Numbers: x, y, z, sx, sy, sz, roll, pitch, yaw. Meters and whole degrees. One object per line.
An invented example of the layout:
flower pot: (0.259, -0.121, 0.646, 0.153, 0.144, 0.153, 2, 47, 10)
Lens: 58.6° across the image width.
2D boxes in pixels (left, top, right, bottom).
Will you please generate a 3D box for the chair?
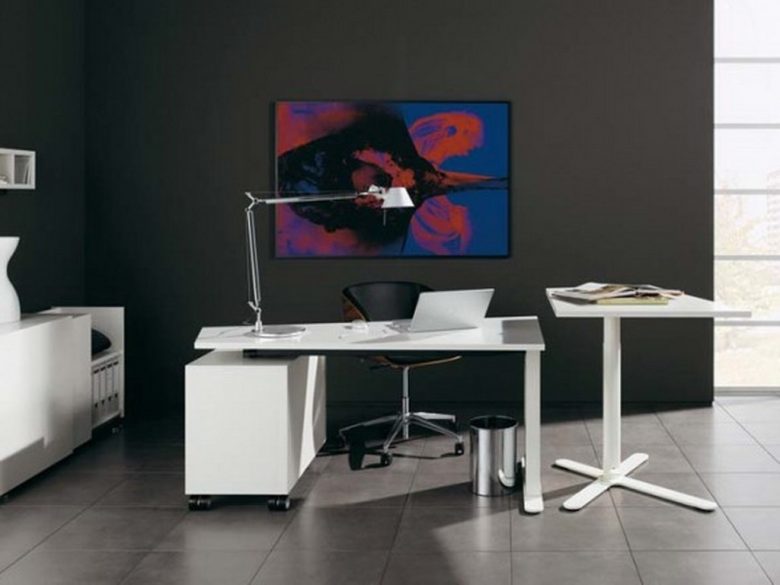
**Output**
chair: (0.071, 0.483, 4.909, 0.883, 1.197, 0.827, -2, 2, -29)

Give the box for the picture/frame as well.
picture/frame: (-0.007, -0.894, 5.564, 1.934, 1.327, 0.039, 1, -6, -2)

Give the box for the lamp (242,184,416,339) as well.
lamp: (-0.367, -0.190, 4.080, 1.013, 0.884, 0.330, -3, 9, -11)

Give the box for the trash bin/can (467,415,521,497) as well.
trash bin/can: (0.591, 0.945, 4.096, 0.333, 0.360, 0.298, 7, -14, -14)

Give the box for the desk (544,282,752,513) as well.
desk: (1.296, 0.618, 4.034, 1.157, 0.991, 1.179, -1, 3, -9)

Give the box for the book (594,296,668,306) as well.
book: (1.249, 0.043, 3.568, 0.347, 0.036, 0.061, 0, 10, 2)

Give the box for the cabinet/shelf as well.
cabinet/shelf: (-0.758, 0.719, 4.233, 0.685, 0.966, 1.366, 1, -1, 6)
